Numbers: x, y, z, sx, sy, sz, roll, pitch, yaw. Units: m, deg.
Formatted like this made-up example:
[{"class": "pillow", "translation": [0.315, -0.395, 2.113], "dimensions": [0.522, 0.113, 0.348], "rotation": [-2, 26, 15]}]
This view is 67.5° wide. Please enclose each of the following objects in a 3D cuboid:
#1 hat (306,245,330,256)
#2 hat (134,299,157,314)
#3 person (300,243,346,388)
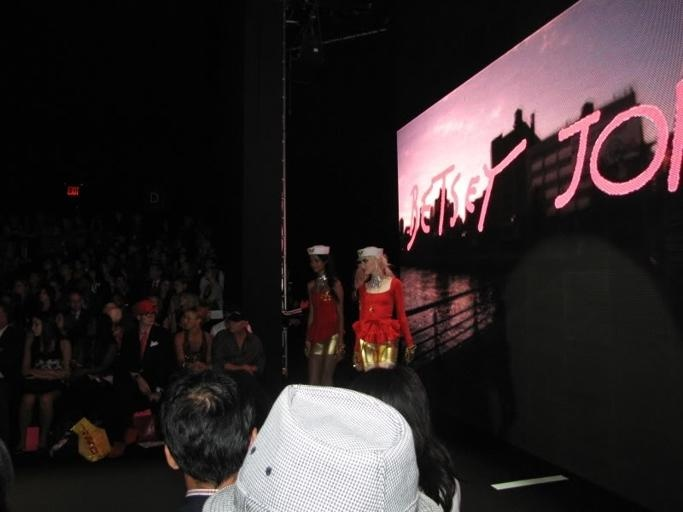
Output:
[{"class": "hat", "translation": [-0.277, -0.060, 5.967], "dimensions": [0.152, 0.087, 0.146], "rotation": [4, -6, -33]}, {"class": "hat", "translation": [-1.620, 0.424, 4.227], "dimensions": [0.110, 0.149, 0.052], "rotation": [-1, -3, -13]}, {"class": "person", "translation": [-0.211, 0.699, 5.979], "dimensions": [0.450, 1.630, 0.228], "rotation": [-1, -1, 2]}]
